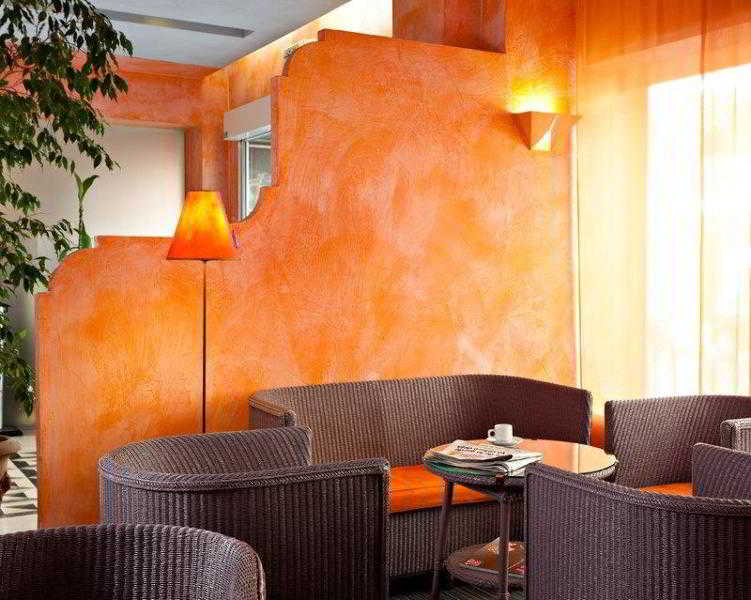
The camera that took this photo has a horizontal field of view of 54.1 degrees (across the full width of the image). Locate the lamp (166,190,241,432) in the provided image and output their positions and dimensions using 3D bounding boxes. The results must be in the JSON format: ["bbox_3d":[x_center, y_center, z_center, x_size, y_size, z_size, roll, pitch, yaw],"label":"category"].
[{"bbox_3d":[-0.826,0.060,3.455,0.323,1.143,0.498,0,-5,-13],"label":"lamp"}]

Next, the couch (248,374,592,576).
[{"bbox_3d":[0.157,0.699,2.931,0.920,0.471,0.434,0,-4,-27],"label":"couch"}]

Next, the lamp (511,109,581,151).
[{"bbox_3d":[1.014,-1.026,4.450,0.305,0.119,0.279,1,-2,5],"label":"lamp"}]
